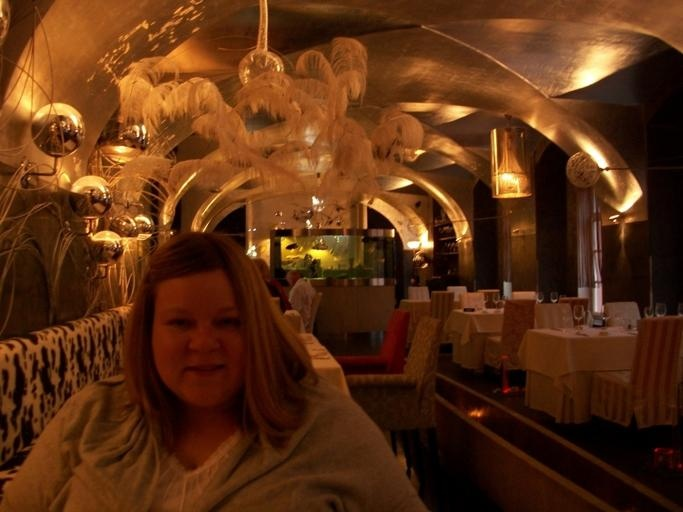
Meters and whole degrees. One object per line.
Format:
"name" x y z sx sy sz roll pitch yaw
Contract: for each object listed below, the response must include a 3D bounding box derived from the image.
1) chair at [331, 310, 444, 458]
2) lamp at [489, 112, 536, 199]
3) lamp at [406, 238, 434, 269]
"chair" 0.334 1.097 4.791 0.801 1.259 0.866 1 -8 -4
"lamp" 2.881 -1.642 9.726 0.629 1.208 0.977 2 1 15
"lamp" 2.710 -0.090 19.401 0.847 0.984 0.648 0 0 34
